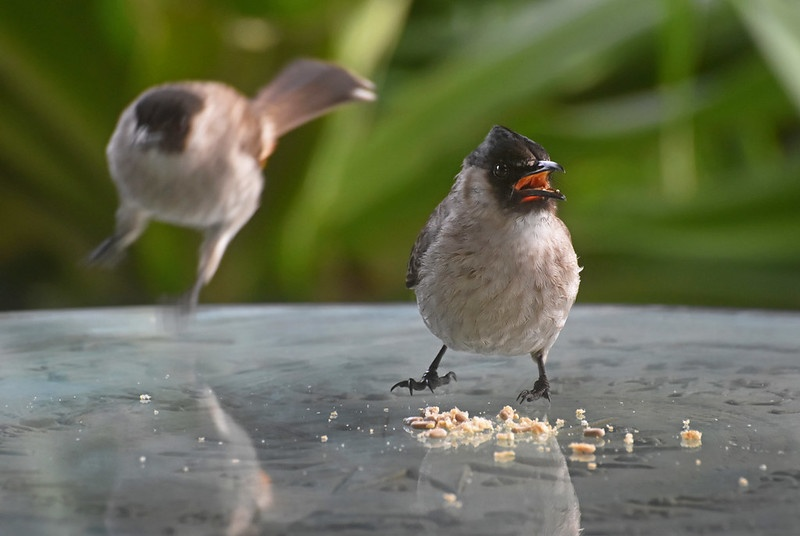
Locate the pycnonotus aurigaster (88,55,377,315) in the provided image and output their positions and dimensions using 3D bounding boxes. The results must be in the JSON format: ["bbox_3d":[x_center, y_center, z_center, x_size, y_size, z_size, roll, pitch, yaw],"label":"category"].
[{"bbox_3d":[-0.346,-0.209,1.721,0.547,0.491,0.254,-2,7,-33],"label":"pycnonotus aurigaster"}]

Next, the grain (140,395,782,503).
[{"bbox_3d":[0.273,0.400,1.933,0.945,0.063,0.355,2,5,8],"label":"grain"}]

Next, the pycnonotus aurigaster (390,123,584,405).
[{"bbox_3d":[0.284,0.012,2.368,0.564,0.659,0.812,3,-4,10],"label":"pycnonotus aurigaster"}]
